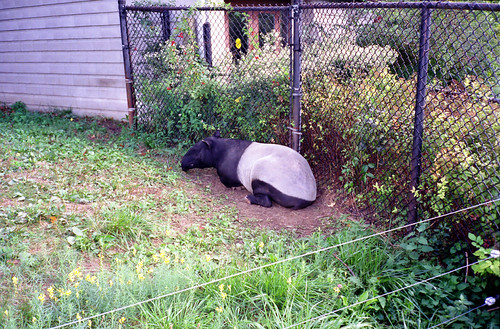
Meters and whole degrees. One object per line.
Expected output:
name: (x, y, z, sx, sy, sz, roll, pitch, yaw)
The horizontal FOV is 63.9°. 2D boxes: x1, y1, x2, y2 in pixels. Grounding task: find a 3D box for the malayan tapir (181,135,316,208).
malayan tapir: (0.031, 0.081, 7.246, 2.426, 0.919, 1.120, 19, 15, 30)
